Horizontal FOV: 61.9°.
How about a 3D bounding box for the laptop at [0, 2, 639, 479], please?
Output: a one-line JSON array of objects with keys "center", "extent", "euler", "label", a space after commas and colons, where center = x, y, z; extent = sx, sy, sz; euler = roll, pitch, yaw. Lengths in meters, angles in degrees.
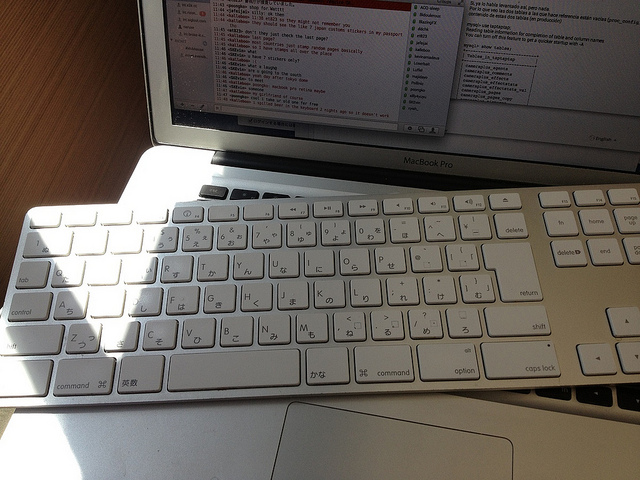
[{"center": [0.076, 0.091, 0.765], "extent": [0.632, 0.527, 0.434], "euler": [-1, -41, 4], "label": "laptop"}]
